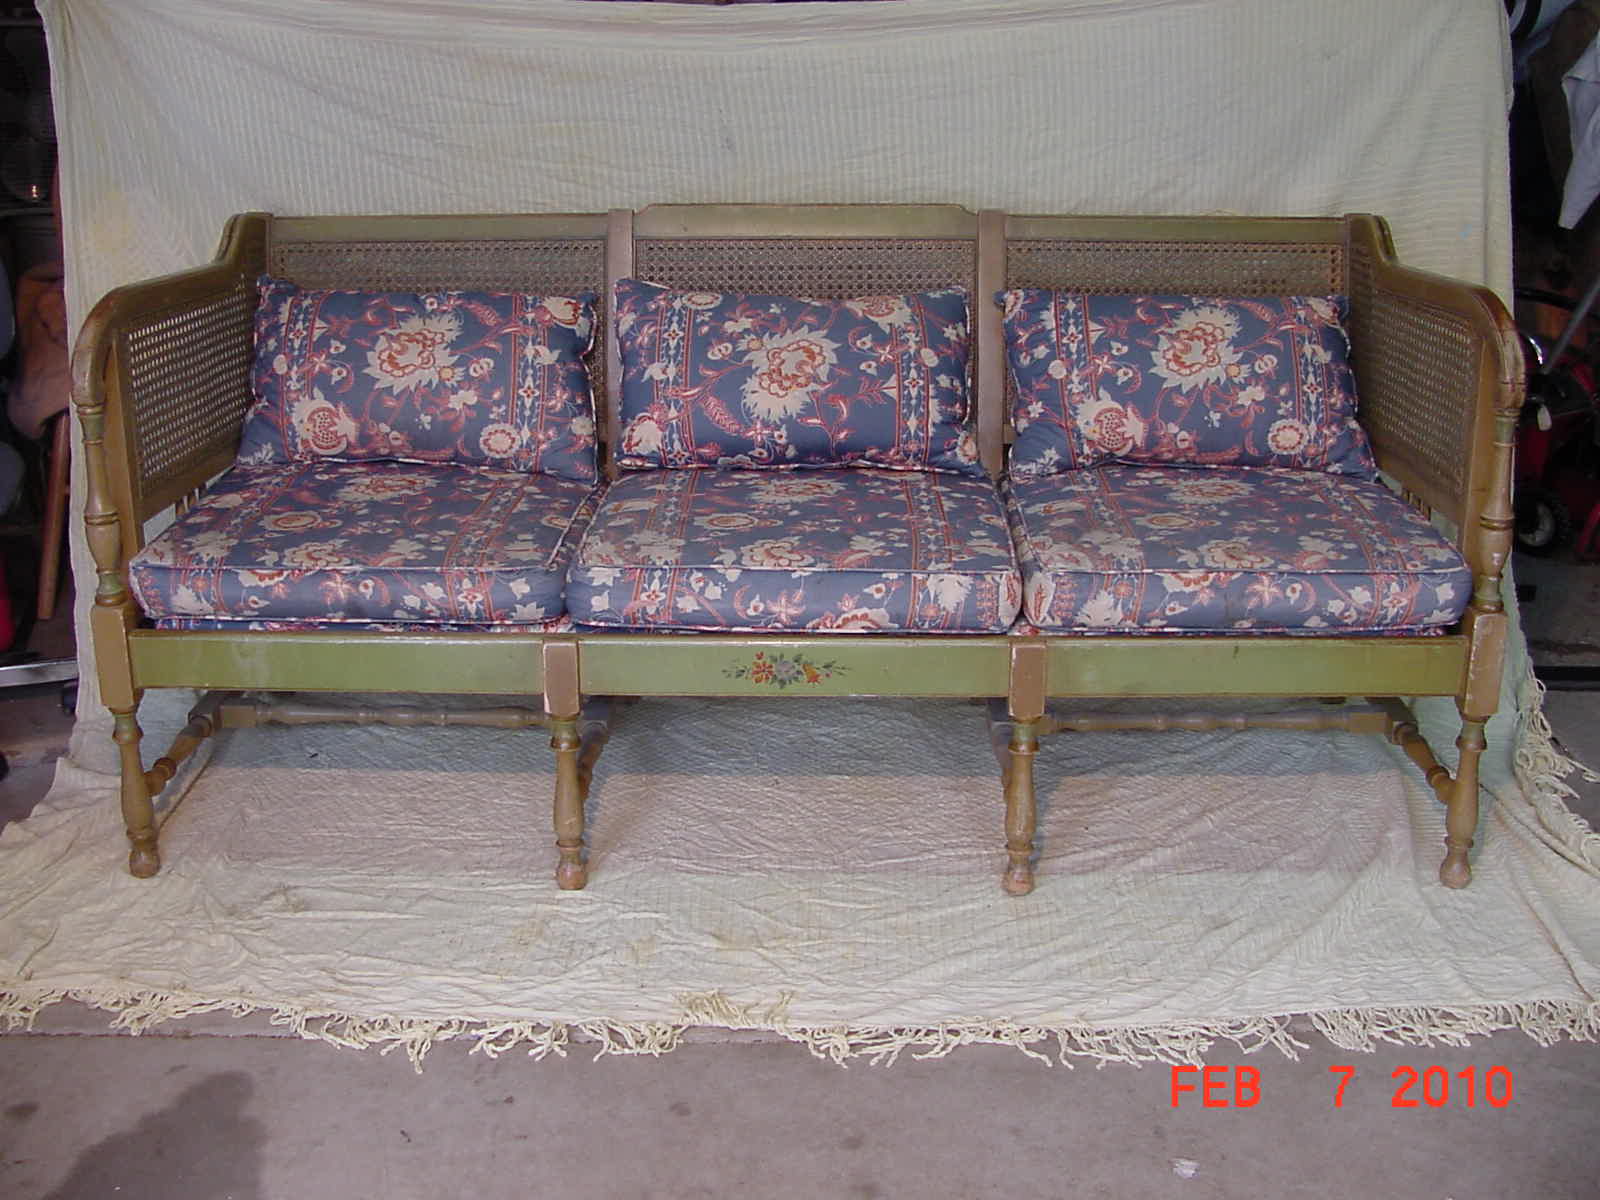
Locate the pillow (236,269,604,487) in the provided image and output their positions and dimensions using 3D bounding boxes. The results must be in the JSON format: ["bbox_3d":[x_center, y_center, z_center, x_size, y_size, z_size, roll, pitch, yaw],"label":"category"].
[{"bbox_3d":[-0.658,-0.470,2.707,0.988,0.218,0.553,-1,-11,29],"label":"pillow"}]
